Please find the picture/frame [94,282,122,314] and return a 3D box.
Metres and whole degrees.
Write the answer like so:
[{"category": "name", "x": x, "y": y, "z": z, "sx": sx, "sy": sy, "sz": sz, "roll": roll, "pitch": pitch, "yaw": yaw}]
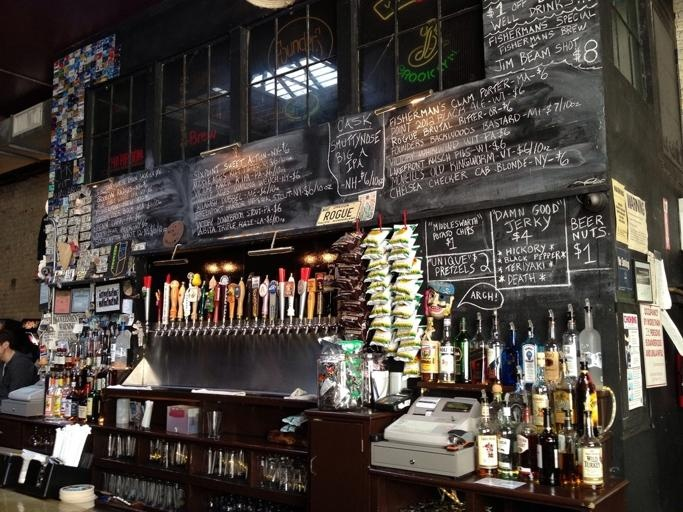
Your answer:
[{"category": "picture/frame", "x": -2.601, "y": 0.472, "z": 6.867, "sx": 0.311, "sy": 0.286, "sz": 0.044, "roll": -9, "pitch": -13, "yaw": 34}]
